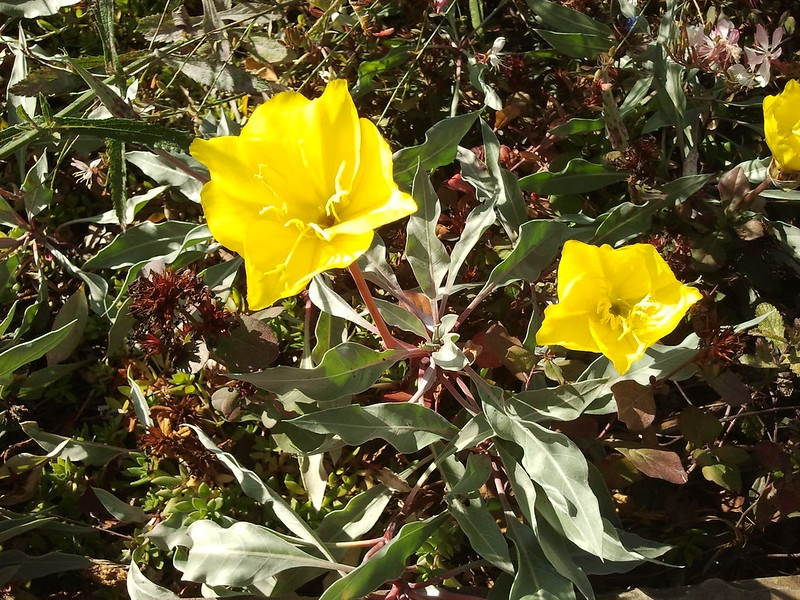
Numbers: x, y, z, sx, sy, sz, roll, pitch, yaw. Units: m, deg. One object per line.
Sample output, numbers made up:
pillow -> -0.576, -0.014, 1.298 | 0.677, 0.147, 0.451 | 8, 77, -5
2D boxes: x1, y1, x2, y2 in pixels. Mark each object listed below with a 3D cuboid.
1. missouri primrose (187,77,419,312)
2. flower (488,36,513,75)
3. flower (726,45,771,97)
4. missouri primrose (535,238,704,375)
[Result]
missouri primrose -> -0.115, -0.174, 1.414 | 0.494, 0.249, 0.443 | -30, 69, 5
flower -> 0.307, -0.782, 2.146 | 0.063, 0.112, 0.126 | -10, 35, 11
flower -> 1.017, -0.656, 1.962 | 0.164, 0.117, 0.052 | 15, 4, 13
missouri primrose -> 0.465, -0.021, 1.449 | 0.373, 0.285, 0.151 | 5, 13, 20
